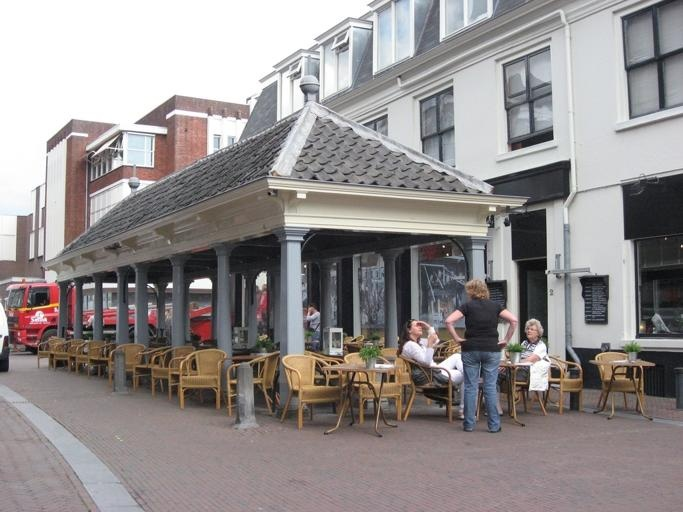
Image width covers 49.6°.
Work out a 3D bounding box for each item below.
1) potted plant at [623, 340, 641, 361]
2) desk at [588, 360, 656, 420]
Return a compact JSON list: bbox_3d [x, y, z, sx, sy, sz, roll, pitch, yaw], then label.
[{"bbox_3d":[5.068,1.649,12.784,0.358,0.304,0.259,4,-10,-27],"label":"potted plant"},{"bbox_3d":[4.973,2.211,12.953,0.722,0.943,0.753,14,-9,24],"label":"desk"}]
